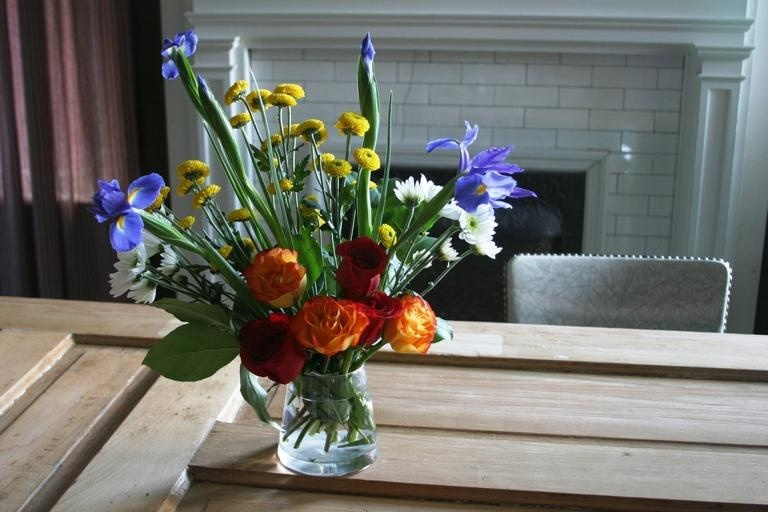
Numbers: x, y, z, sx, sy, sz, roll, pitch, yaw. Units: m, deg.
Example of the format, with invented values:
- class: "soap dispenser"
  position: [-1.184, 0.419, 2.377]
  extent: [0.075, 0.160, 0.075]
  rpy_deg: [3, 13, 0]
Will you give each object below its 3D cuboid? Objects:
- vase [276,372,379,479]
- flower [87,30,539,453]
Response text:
- class: "vase"
  position: [-0.100, 0.309, 1.153]
  extent: [0.190, 0.174, 0.183]
  rpy_deg: [1, 6, -1]
- class: "flower"
  position: [-0.099, -0.024, 1.085]
  extent: [0.689, 0.752, 0.445]
  rpy_deg: [6, 12, 12]
